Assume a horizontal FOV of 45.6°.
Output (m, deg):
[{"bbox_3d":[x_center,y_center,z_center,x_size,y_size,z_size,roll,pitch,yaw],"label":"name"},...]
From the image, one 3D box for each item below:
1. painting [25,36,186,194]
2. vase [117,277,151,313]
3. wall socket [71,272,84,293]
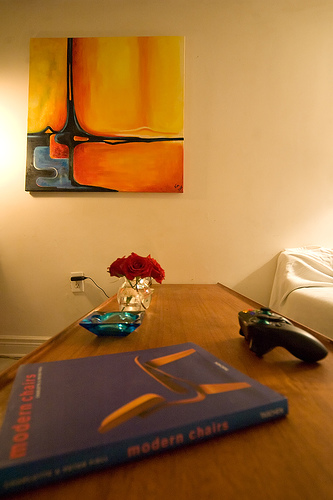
[{"bbox_3d":[-0.317,-0.675,2.020,0.810,0.766,0.018,2,6,3],"label":"painting"},{"bbox_3d":[-0.078,0.110,1.014,0.079,0.129,0.090,0,-3,7],"label":"vase"},{"bbox_3d":[-0.456,0.169,2.032,0.065,0.108,0.016,2,12,-11],"label":"wall socket"}]
